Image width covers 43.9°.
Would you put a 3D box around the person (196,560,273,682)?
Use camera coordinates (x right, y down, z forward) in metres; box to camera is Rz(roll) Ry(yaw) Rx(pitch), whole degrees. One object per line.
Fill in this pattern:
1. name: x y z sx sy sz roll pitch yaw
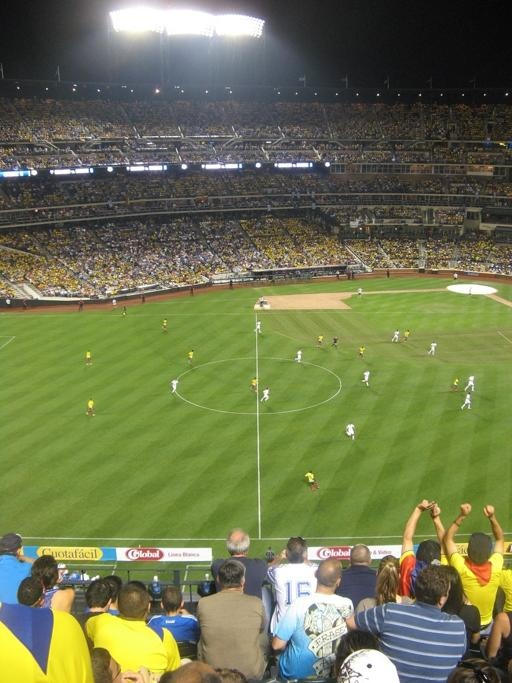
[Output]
1. person: -0.291 3.413 7.629 0.801 1.217 0.743 -2 14 -2

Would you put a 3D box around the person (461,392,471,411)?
1. person: 14.059 4.044 42.372 0.616 0.964 0.604 12 38 25

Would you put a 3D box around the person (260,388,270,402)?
1. person: 0.634 3.743 43.932 0.404 0.853 0.290 34 69 21

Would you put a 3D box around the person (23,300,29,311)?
1. person: -26.074 -4.196 71.978 0.550 0.946 1.146 -4 13 -11

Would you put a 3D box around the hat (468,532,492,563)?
1. hat: 3.314 3.054 9.380 0.324 0.485 0.353 3 14 16

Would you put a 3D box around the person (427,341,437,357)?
1. person: 15.512 0.670 55.804 0.488 1.227 0.468 23 35 -1

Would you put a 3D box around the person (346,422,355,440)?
1. person: 5.580 5.221 37.618 0.561 0.814 1.237 0 12 7
